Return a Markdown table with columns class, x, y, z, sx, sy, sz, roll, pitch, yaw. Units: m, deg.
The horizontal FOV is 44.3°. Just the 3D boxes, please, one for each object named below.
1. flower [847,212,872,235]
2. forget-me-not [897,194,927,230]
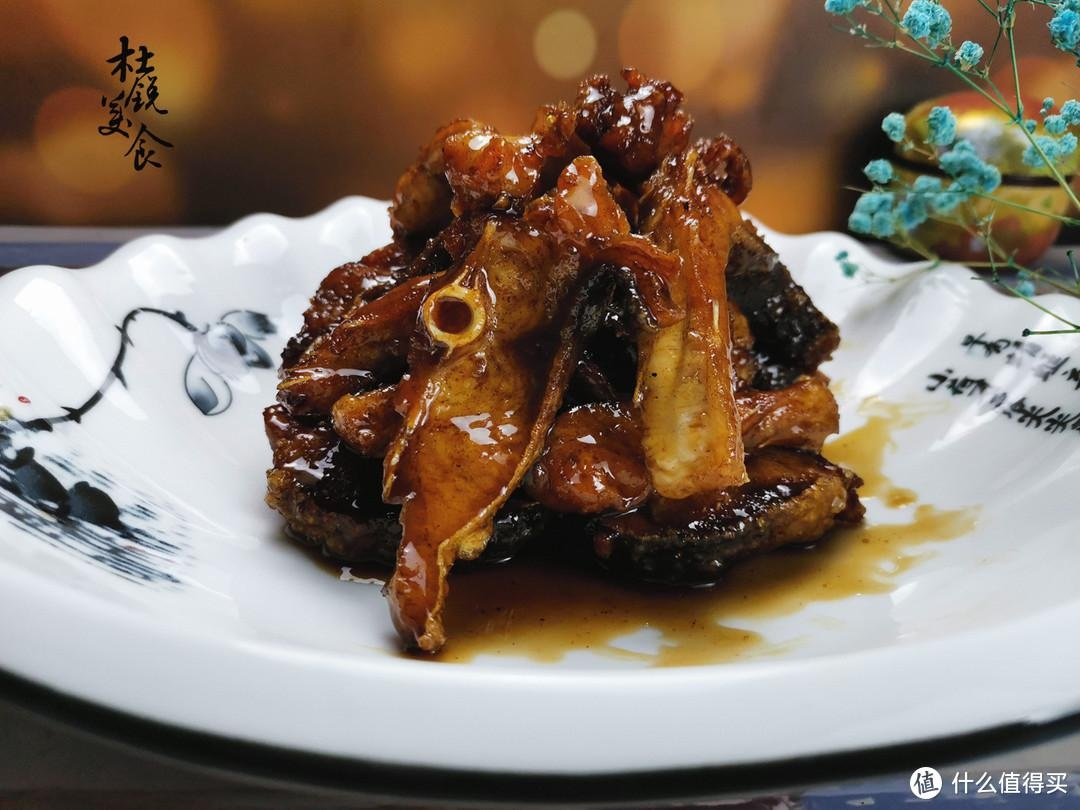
| class | x | y | z | sx | sy | sz | roll | pitch | yaw |
| --- | --- | --- | --- | --- | --- | --- | --- | --- | --- |
| flower | 0.717 | -0.410 | 2.977 | 0.073 | 0.045 | 0.022 | 8 | 4 | 26 |
| forget-me-not | 0.808 | -0.417 | 2.864 | 0.083 | 0.064 | 0.029 | 8 | 7 | 9 |
